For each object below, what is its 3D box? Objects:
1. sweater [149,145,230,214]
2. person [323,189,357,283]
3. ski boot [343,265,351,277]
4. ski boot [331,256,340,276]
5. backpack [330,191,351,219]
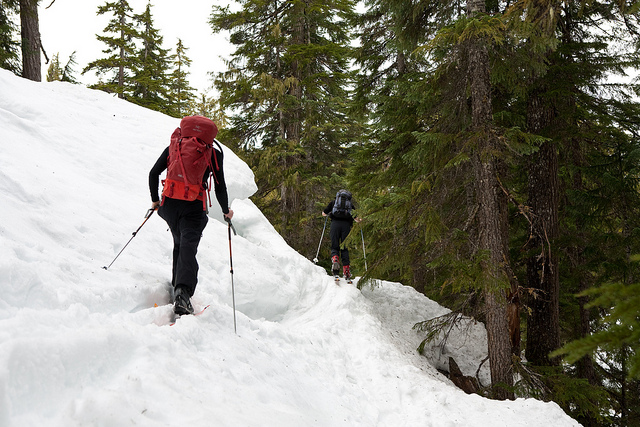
[{"bbox_3d":[-2.884,-0.825,13.628,1.856,1.129,0.603,10,3,-16],"label":"sweater"},{"bbox_3d":[0.644,0.668,18.204,0.683,2.406,1.191,6,5,-45],"label":"person"},{"bbox_3d":[0.815,1.723,18.118,0.131,0.416,0.171,1,4,0],"label":"ski boot"},{"bbox_3d":[0.473,1.580,18.054,0.171,0.569,0.285,1,31,3],"label":"ski boot"},{"bbox_3d":[0.658,-0.213,18.334,0.590,0.887,0.458,12,-25,-1],"label":"backpack"}]
